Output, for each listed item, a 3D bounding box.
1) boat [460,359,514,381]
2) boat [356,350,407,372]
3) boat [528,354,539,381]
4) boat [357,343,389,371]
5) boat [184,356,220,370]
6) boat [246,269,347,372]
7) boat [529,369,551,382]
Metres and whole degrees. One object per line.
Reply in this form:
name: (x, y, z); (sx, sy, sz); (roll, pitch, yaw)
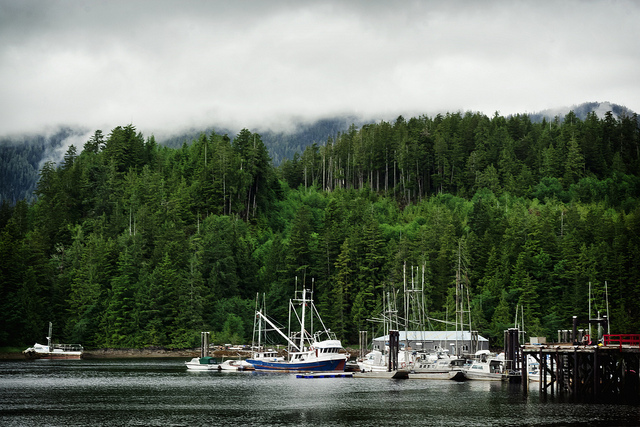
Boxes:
boat: (32.216, 30.347, 201.544); (8.633, 3.780, 3.786); (-5, -8, 30)
boat: (11.081, 30.181, 212.031); (5.213, 4.198, 11.207); (5, -10, -38)
boat: (40.575, 29.480, 198.104); (3.432, 3.863, 13.833); (-3, -13, 11)
boat: (10.843, 30.077, 212.481); (5.959, 4.130, 6.889); (-2, -8, 0)
boat: (-24.802, 31.573, 218.256); (5.066, 2.014, 3.230); (-2, -5, 5)
boat: (-4.533, 24.886, 215.456); (23.968, 17.839, 7.585); (-1, -6, 25)
boat: (41.404, 31.015, 197.019); (1.964, 2.128, 6.247); (1, -2, -8)
